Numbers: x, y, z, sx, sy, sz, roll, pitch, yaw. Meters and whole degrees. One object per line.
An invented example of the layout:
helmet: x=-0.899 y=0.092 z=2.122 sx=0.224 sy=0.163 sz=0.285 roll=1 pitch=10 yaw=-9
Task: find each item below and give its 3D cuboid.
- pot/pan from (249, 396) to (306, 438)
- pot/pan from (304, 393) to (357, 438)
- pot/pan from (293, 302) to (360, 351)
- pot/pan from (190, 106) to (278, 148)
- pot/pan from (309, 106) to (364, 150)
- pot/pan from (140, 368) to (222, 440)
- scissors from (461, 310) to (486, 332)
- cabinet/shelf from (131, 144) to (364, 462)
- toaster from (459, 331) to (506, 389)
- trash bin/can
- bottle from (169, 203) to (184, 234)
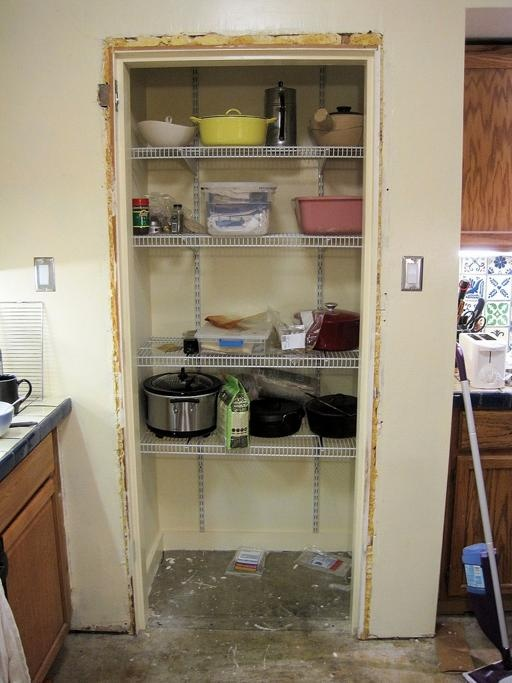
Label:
pot/pan: x=0.078 y=0.296 z=2.318 sx=0.202 sy=0.129 sz=0.272 roll=0 pitch=11 yaw=0
pot/pan: x=0.277 y=0.296 z=2.252 sx=0.186 sy=0.130 sz=0.261 roll=2 pitch=12 yaw=8
pot/pan: x=0.261 y=-0.061 z=2.224 sx=0.208 sy=0.168 sz=0.219 roll=0 pitch=11 yaw=0
pot/pan: x=-0.073 y=-0.702 z=2.013 sx=0.282 sy=0.109 sz=0.142 roll=-1 pitch=11 yaw=-7
pot/pan: x=0.273 y=-0.700 z=2.032 sx=0.143 sy=0.102 sz=0.188 roll=7 pitch=14 yaw=23
pot/pan: x=-0.279 y=0.224 z=2.272 sx=0.283 sy=0.233 sz=0.312 roll=7 pitch=12 yaw=19
scissors: x=0.849 y=-0.080 z=2.370 sx=0.077 sy=0.082 sz=0.028 roll=6 pitch=-1 yaw=24
cabinet/shelf: x=-0.026 y=-0.165 z=2.230 sx=1.133 sy=1.196 sz=0.393 roll=0 pitch=8 yaw=0
toaster: x=0.761 y=0.066 z=2.167 sx=0.115 sy=0.189 sz=0.247 roll=-2 pitch=7 yaw=2
trash bin/can: x=0.699 y=0.796 z=1.865 sx=0.130 sy=0.352 sz=0.076 roll=4 pitch=12 yaw=20
bottle: x=-0.284 y=-0.439 z=2.161 sx=0.042 sy=0.103 sz=0.084 roll=0 pitch=11 yaw=2
